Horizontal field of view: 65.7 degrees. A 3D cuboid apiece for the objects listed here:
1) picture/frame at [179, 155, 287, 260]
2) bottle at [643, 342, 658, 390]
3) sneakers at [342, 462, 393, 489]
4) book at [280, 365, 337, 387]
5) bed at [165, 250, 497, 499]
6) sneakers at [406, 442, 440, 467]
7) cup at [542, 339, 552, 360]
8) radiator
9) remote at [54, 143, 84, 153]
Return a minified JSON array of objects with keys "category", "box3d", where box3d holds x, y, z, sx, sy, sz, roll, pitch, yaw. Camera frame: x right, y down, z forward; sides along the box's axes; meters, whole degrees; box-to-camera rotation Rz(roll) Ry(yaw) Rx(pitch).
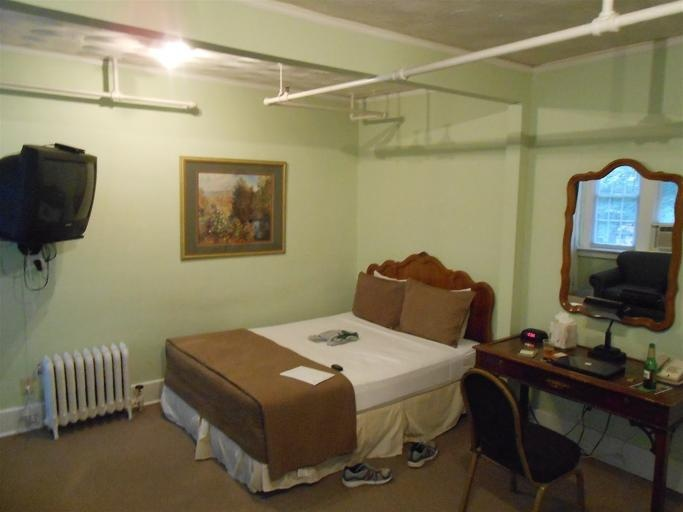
[{"category":"picture/frame","box3d":[-1.241,-0.550,5.801,1.080,1.021,0.072,-5,11,-34]},{"category":"bottle","box3d":[2.279,0.796,3.893,0.089,0.315,0.287,7,9,31]},{"category":"sneakers","box3d":[0.215,1.777,4.340,0.373,0.163,0.166,-1,3,-8]},{"category":"book","box3d":[-0.286,1.014,4.516,0.388,0.040,0.310,7,9,36]},{"category":"bed","box3d":[-0.029,0.773,5.318,1.977,1.691,2.675,9,5,43]},{"category":"sneakers","box3d":[0.711,1.711,4.611,0.300,0.145,0.126,-11,11,-44]},{"category":"cup","box3d":[1.714,0.795,4.454,0.085,0.156,0.149,5,9,36]},{"category":"radiator","box3d":[-2.400,1.295,5.042,0.723,0.770,0.262,-8,16,-34]},{"category":"remote","box3d":[-2.324,-0.917,4.509,0.165,0.043,0.169,7,3,-11]}]
